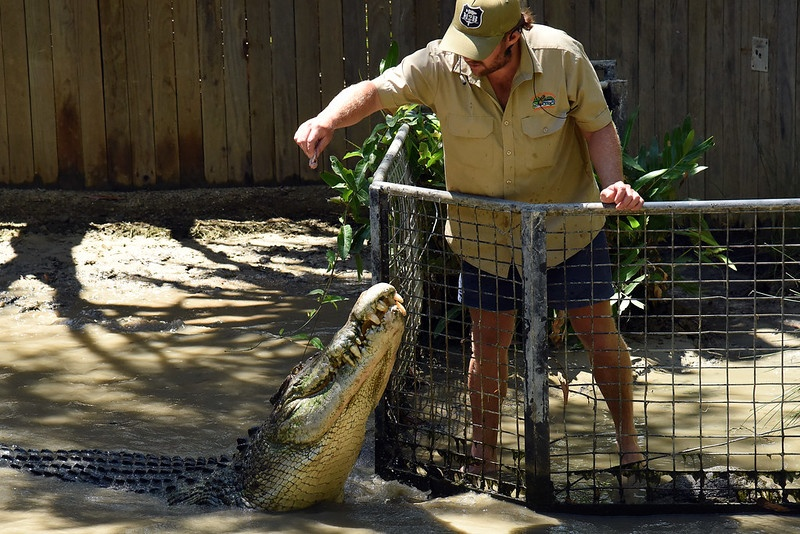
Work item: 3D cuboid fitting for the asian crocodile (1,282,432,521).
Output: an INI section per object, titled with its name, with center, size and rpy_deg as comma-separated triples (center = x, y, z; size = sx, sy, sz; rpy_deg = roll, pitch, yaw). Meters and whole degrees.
[asian crocodile]
center = -1.525, 1.229, 12.000
size = 4.107, 2.723, 1.386
rpy_deg = -4, -10, 16

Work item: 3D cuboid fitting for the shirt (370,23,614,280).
[shirt]
center = 0.727, -0.917, 11.245
size = 1.773, 1.030, 2.171
rpy_deg = -8, -52, 1
